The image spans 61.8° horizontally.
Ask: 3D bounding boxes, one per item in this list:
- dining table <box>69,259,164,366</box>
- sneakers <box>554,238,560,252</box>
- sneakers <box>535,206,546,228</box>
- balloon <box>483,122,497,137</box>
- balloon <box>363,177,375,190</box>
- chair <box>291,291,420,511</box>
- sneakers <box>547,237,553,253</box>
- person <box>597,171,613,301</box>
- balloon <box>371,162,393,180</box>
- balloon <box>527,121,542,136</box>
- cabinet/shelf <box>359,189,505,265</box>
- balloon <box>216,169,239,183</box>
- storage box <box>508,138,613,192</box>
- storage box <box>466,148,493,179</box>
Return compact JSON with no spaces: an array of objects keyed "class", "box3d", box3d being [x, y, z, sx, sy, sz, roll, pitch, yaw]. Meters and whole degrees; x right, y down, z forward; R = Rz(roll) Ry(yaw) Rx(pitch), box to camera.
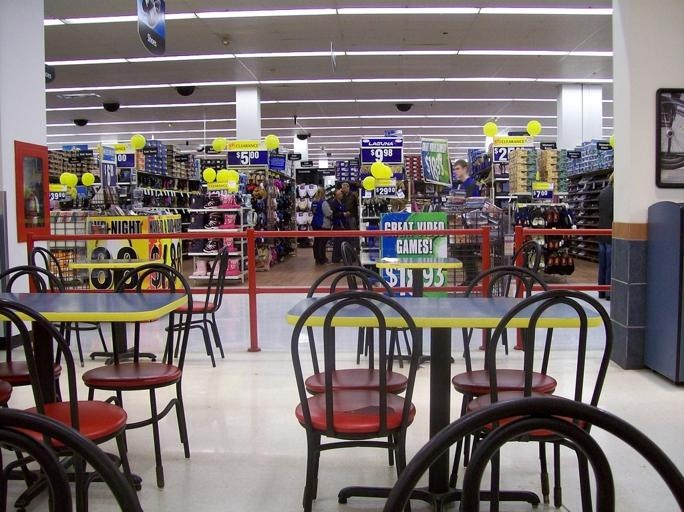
[{"class":"dining table","box3d":[-1.868,0.492,4.702,0.892,0.931,0.913,0,2,-3]},{"class":"sneakers","box3d":[3.724,-0.204,9.793,0.079,0.176,0.212,3,9,29]},{"class":"sneakers","box3d":[3.384,-0.667,9.704,0.182,0.359,0.125,3,-2,1]},{"class":"balloon","box3d":[2.964,-2.511,11.284,0.196,0.316,0.866,1,8,17]},{"class":"balloon","box3d":[0.443,-1.261,9.872,0.203,0.243,0.208,13,24,-7]},{"class":"chair","box3d":[0.062,0.701,2.873,0.623,1.165,0.722,0,7,4]},{"class":"sneakers","box3d":[3.581,-0.180,9.752,0.123,0.227,0.138,2,8,20]},{"class":"person","box3d":[3.866,-0.215,8.343,0.193,1.598,0.800,2,8,24]},{"class":"balloon","box3d":[0.630,-1.389,9.232,0.269,0.307,0.413,4,9,34]},{"class":"balloon","box3d":[3.800,-2.505,11.205,0.203,0.346,0.844,2,8,21]},{"class":"cabinet/shelf","box3d":[1.166,-0.293,6.790,1.407,0.697,2.407,0,8,5]},{"class":"balloon","box3d":[-2.168,-1.498,10.723,0.331,0.163,0.339,-1,-2,-4]},{"class":"storage box","box3d":[4.554,-1.867,11.668,1.622,1.076,4.196,4,9,31]},{"class":"storage box","box3d":[3.157,-2.117,13.041,0.773,0.414,1.122,0,3,6]}]
